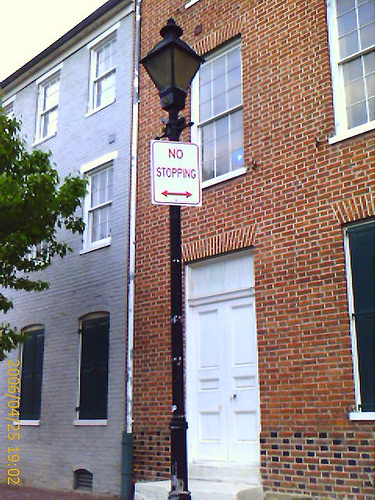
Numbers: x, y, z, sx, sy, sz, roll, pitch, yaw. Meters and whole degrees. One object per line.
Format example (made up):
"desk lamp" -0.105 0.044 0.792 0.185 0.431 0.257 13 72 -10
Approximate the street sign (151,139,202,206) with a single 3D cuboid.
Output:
"street sign" -0.091 -0.585 4.244 0.387 0.042 0.568 3 -52 5

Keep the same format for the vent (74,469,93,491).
"vent" -1.769 3.911 9.459 0.119 0.337 0.525 12 -23 -36

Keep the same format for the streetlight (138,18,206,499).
"streetlight" -0.097 -0.151 4.131 0.496 3.700 0.365 0 -17 -5
